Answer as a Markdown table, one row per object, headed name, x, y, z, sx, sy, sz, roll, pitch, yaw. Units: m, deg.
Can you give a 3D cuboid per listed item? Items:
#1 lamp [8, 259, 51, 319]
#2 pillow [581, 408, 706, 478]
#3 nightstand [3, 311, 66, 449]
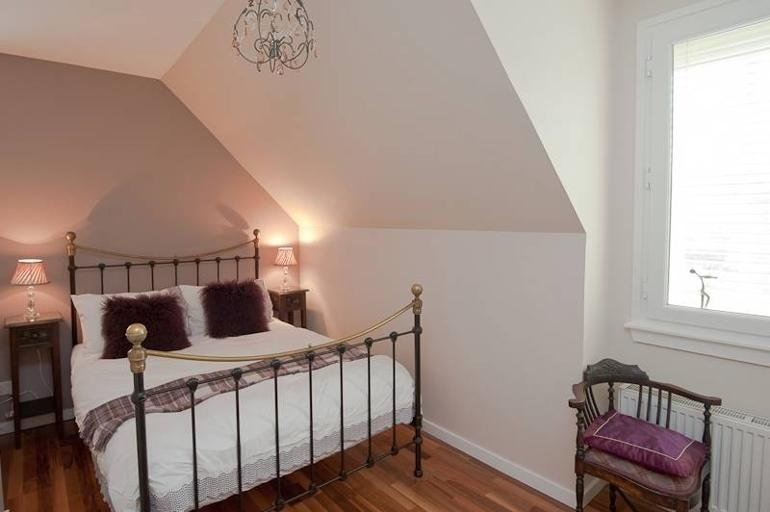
| name | x | y | z | sx | sy | sz | roll | pitch | yaw |
| --- | --- | --- | --- | --- | --- | --- | --- | --- | --- |
| lamp | -2.892 | 0.264 | 4.178 | 0.249 | 0.561 | 0.286 | -5 | 2 | -35 |
| pillow | 1.610 | 1.159 | 3.210 | 0.414 | 0.112 | 0.357 | 9 | 11 | 38 |
| nightstand | -2.861 | 0.983 | 4.229 | 0.386 | 1.154 | 0.371 | -5 | 2 | -36 |
